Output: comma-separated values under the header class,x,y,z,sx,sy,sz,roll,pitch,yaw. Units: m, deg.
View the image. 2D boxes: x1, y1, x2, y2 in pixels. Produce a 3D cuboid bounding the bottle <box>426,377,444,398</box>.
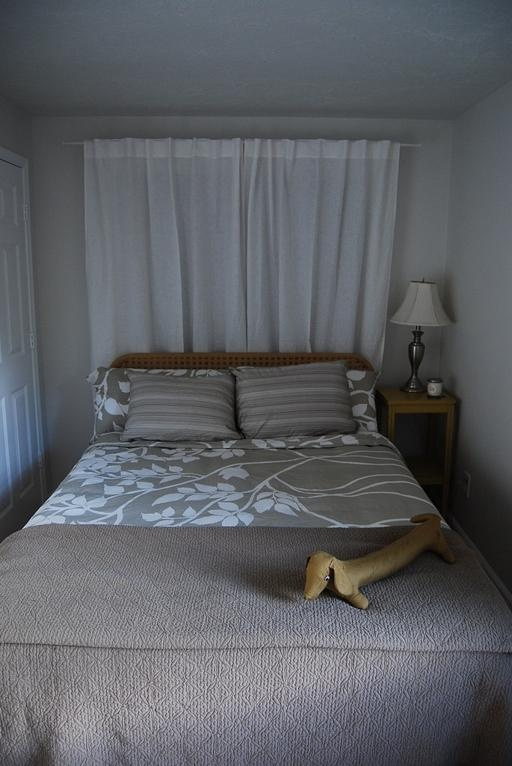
class,x,y,z,sx,sy,sz,roll,pitch,yaw
bottle,0.984,0.034,2.943,0.109,0.108,0.080,3,9,15
